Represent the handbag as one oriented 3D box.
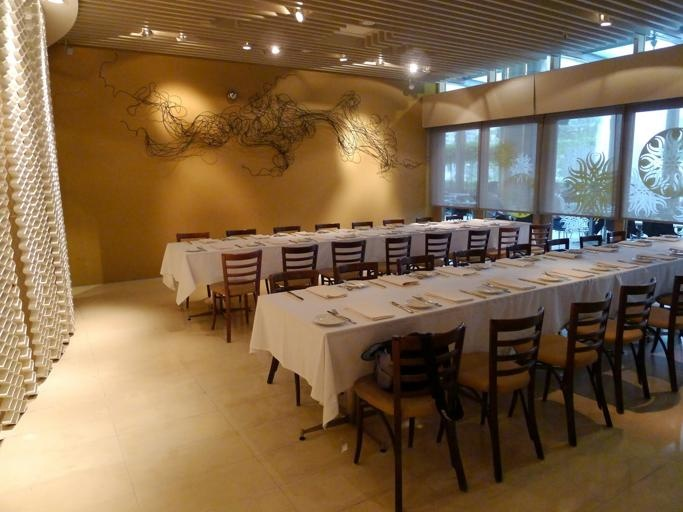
[{"bbox_3d":[0.488,0.807,3.450,0.506,0.754,0.524,-8,26,-15],"label":"handbag"}]
